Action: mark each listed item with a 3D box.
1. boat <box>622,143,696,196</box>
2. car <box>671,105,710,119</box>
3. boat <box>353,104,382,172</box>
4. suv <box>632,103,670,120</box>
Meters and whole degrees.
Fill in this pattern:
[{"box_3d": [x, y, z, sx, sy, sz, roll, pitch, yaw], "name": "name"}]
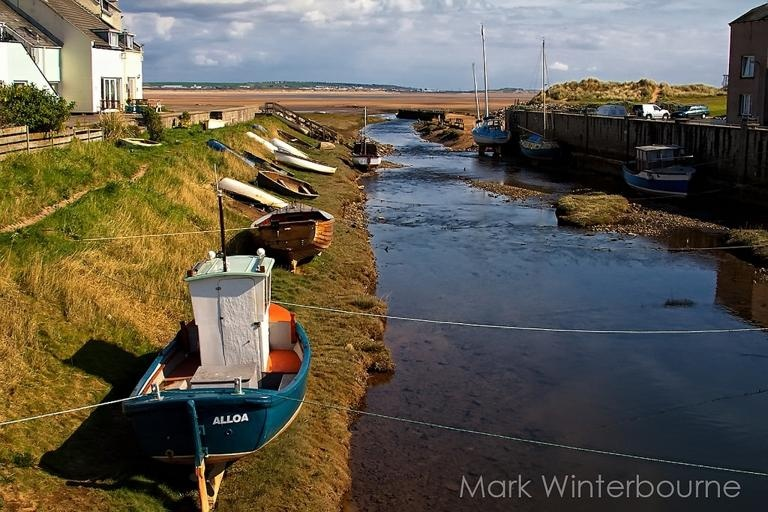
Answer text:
[{"box_3d": [19.695, -6.030, 43.667, 3.460, 2.941, 6.060, -13, 20, -6], "name": "boat"}, {"box_3d": [31.323, -14.588, 62.424, 2.907, 1.312, 4.613, 6, 13, 23], "name": "car"}, {"box_3d": [-1.643, -9.603, 57.641, 2.518, 3.423, 7.017, -5, 10, -4], "name": "boat"}, {"box_3d": [27.462, -14.813, 62.981, 3.047, 1.539, 6.711, 4, 12, 17], "name": "suv"}]
